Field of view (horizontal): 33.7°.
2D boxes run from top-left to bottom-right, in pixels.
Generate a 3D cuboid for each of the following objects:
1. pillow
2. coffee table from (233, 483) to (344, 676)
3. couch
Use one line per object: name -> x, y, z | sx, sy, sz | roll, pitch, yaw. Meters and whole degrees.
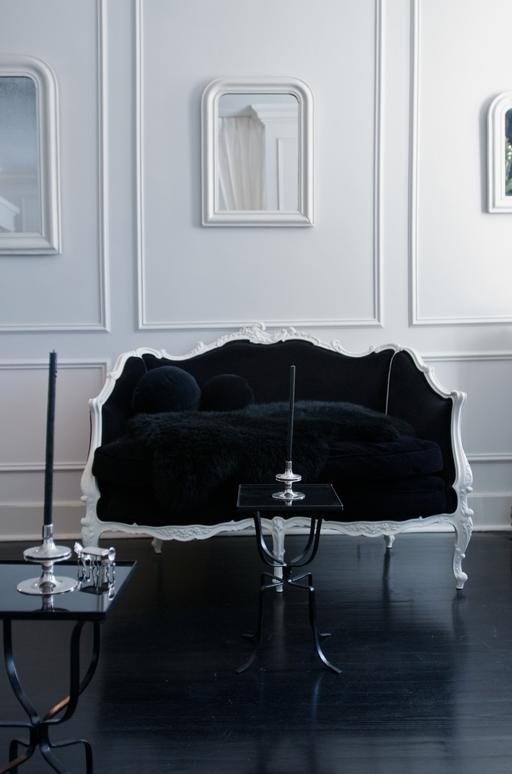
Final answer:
pillow -> -0.230, 0.026, 3.133 | 0.347, 0.157, 0.195 | 0, -26, -13
coffee table -> 0.089, 0.533, 2.333 | 0.375, 0.430, 0.354 | 1, -1, -29
couch -> 0.050, 0.202, 3.010 | 1.295, 0.808, 0.608 | -1, 13, 0
